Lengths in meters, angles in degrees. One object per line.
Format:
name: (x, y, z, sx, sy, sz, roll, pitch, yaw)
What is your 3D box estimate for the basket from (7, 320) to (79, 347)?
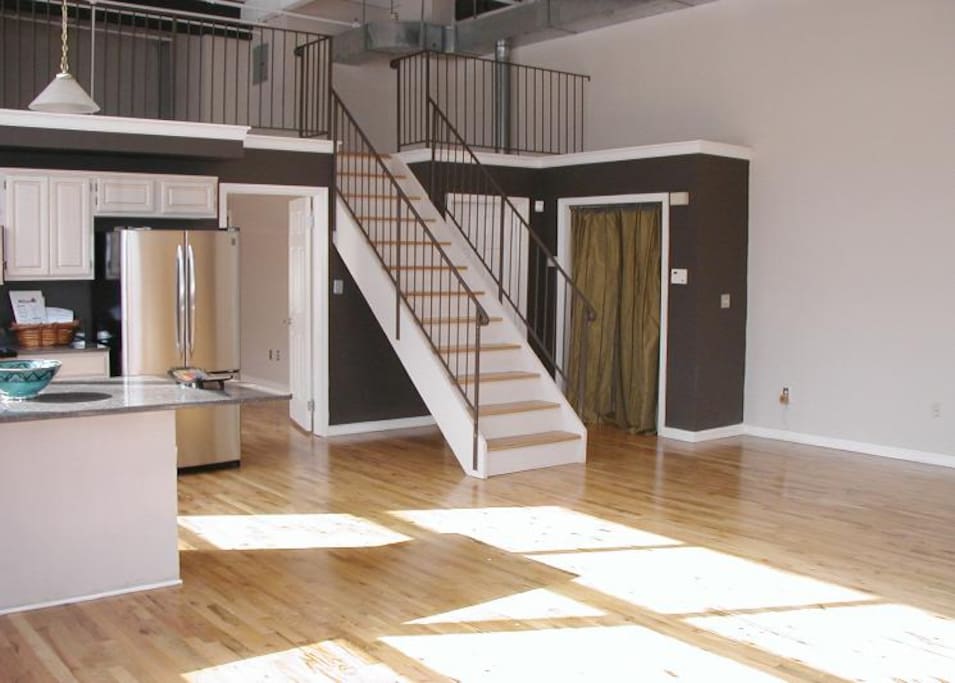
basket: (-3.937, -0.063, 6.895, 0.528, 0.210, 0.289, -4, 9, -31)

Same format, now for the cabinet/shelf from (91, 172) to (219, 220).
cabinet/shelf: (-3.000, -1.362, 7.076, 1.067, 0.394, 0.226, -2, 8, -20)
